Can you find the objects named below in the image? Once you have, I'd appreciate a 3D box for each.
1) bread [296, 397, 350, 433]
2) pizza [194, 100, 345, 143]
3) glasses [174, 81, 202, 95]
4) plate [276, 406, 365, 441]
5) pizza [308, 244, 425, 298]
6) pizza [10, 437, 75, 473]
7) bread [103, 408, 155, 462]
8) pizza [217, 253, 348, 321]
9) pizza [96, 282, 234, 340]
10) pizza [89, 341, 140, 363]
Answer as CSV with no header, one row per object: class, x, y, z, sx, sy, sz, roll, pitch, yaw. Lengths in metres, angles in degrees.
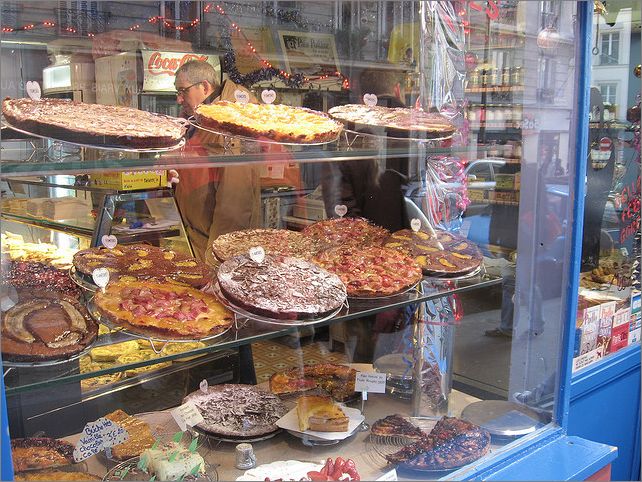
bread,0.008,0.550,1.638,0.150,0.038,0.130,2,13,-8
pizza,-0.136,-0.317,1.360,0.237,0.026,0.145,7,26,-9
glasses,-0.324,-0.367,1.250,0.040,0.009,0.036,-22,15,-12
plate,-0.002,0.591,1.631,0.179,0.038,0.154,4,14,14
pizza,0.172,0.068,1.591,0.240,0.024,0.207,-12,25,-32
pizza,-0.691,0.540,1.298,0.122,0.026,0.110,14,6,-16
bread,-0.531,0.536,1.443,0.114,0.109,0.100,-7,15,-19
pizza,-0.111,0.122,1.385,0.252,0.035,0.234,18,17,2
pizza,-0.395,0.192,1.262,0.243,0.033,0.162,14,21,-7
pizza,-0.464,0.247,1.154,0.062,0.011,0.057,-4,11,-26
